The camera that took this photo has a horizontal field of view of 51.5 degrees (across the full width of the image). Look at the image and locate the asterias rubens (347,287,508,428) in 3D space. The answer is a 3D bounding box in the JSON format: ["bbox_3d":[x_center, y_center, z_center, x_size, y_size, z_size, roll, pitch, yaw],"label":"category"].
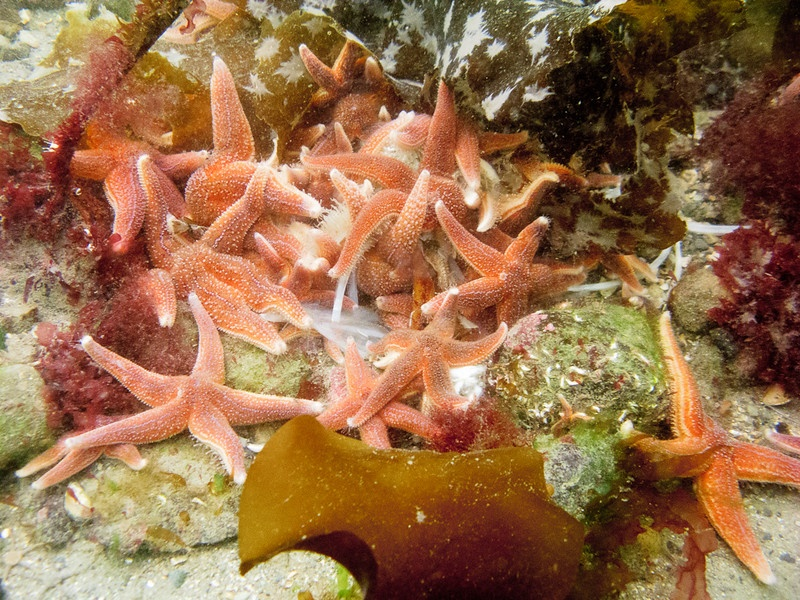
[{"bbox_3d":[0.119,0.260,3.889,0.631,0.214,0.659,29,97,4],"label":"asterias rubens"}]

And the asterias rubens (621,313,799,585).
[{"bbox_3d":[1.456,0.683,3.816,1.002,0.408,0.545,38,56,17],"label":"asterias rubens"}]

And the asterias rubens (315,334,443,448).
[{"bbox_3d":[-0.086,0.445,3.800,0.506,0.100,0.448,46,59,7],"label":"asterias rubens"}]
